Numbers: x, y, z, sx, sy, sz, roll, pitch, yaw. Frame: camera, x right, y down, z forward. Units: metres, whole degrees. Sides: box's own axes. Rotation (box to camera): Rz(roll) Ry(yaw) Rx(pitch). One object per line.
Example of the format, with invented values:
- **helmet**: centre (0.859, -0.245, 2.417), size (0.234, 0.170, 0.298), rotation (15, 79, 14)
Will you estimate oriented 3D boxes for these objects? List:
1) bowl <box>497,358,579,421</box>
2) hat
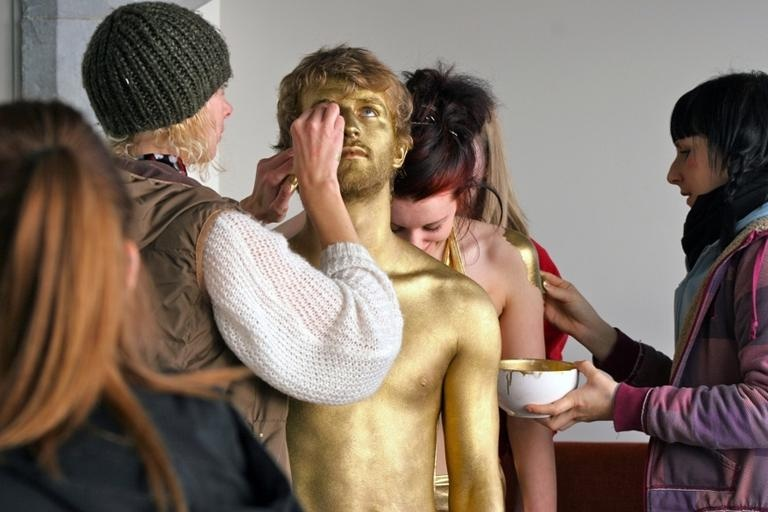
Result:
- **bowl**: centre (0.328, 0.288, 1.995), size (0.147, 0.085, 0.148), rotation (0, -8, 0)
- **hat**: centre (-0.494, -0.399, 1.995), size (0.272, 0.219, 0.283), rotation (-29, 21, -8)
